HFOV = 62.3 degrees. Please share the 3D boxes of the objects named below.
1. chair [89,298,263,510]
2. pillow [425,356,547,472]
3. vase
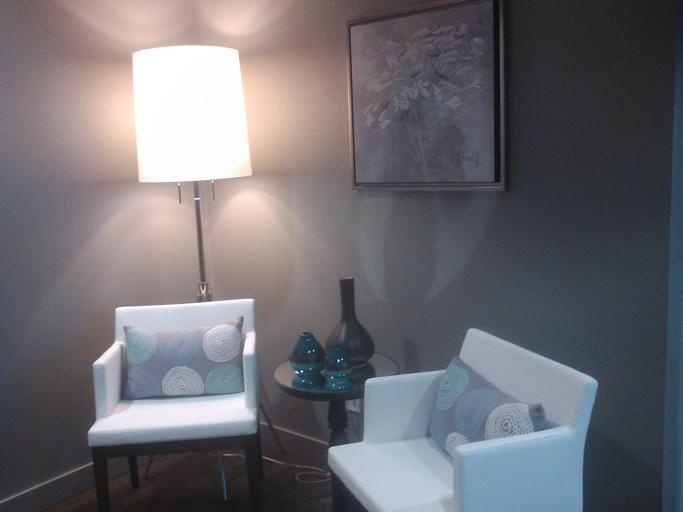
[{"bbox_3d":[-0.776,0.633,2.912,0.909,1.312,0.920,-1,1,-9],"label":"chair"},{"bbox_3d":[0.531,0.598,2.130,0.105,0.339,0.346,22,6,-33],"label":"pillow"},{"bbox_3d":[0.031,0.404,2.775,0.526,0.560,0.291,-2,1,9],"label":"vase"}]
